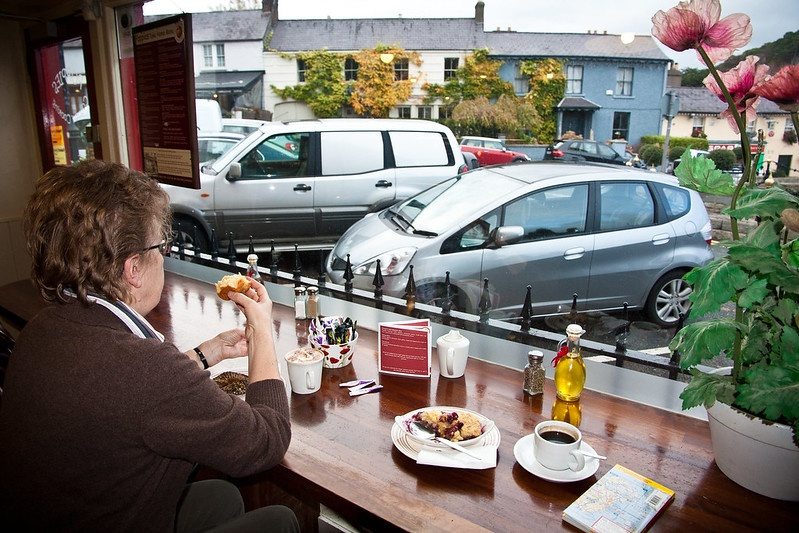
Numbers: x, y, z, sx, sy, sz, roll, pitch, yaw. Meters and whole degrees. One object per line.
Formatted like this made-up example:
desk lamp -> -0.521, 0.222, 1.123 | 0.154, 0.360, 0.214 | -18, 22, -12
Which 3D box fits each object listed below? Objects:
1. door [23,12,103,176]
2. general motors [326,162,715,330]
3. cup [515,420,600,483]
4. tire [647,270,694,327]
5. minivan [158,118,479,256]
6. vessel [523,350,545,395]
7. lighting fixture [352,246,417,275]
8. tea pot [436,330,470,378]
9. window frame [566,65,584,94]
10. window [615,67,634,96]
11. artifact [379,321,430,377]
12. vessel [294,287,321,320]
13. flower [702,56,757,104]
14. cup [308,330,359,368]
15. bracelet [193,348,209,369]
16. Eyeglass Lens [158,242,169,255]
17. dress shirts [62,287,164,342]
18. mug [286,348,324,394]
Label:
door -> -2.559, -1.286, 3.968 | 0.201, 1.112, 1.066 | -11, 18, -42
general motors -> 0.627, -0.121, 2.702 | 1.493, 0.610, 0.874 | 3, 13, 1
cup -> 0.481, 0.555, 1.587 | 0.253, 0.127, 0.152 | 7, 14, 22
tire -> 1.262, 0.142, 2.410 | 0.207, 0.273, 0.083 | -1, 14, -12
minivan -> -0.553, -0.644, 4.015 | 2.114, 0.846, 0.935 | 2, 13, -2
vessel -> 0.503, 0.384, 1.922 | 0.078, 0.161, 0.095 | 6, 14, 15
lighting fixture -> -0.071, -0.032, 2.842 | 0.248, 0.074, 0.160 | -10, 19, -18
tea pot -> 0.207, 0.340, 2.003 | 0.144, 0.169, 0.174 | 3, 15, 11
window frame -> 0.881, -0.936, 2.606 | 0.084, 0.143, 0.062 | 5, 14, 12
window -> 1.009, -0.826, 2.331 | 0.033, 0.131, 0.094 | -6, 15, -28
artifact -> 0.012, 0.296, 2.078 | 0.249, 0.225, 0.192 | -1, 4, -17
vessel -> -0.429, 0.172, 2.436 | 0.139, 0.170, 0.067 | 4, 21, 5
flower -> 1.009, -0.567, 1.581 | 0.126, 0.129, 0.154 | 6, 14, 18
cup -> -0.247, 0.318, 2.045 | 0.138, 0.080, 0.134 | -2, 11, 0
bracelet -> -0.713, 0.331, 1.889 | 0.021, 0.064, 0.067 | -29, 47, -11
Eyeglass Lens -> -0.682, -0.052, 1.520 | 0.010, 0.030, 0.031 | 6, 3, -11
dress shirts -> -0.780, 0.111, 1.451 | 0.199, 0.093, 0.157 | 27, 1, -1
mug -> -0.341, 0.380, 1.909 | 0.130, 0.110, 0.154 | 0, 13, -5
